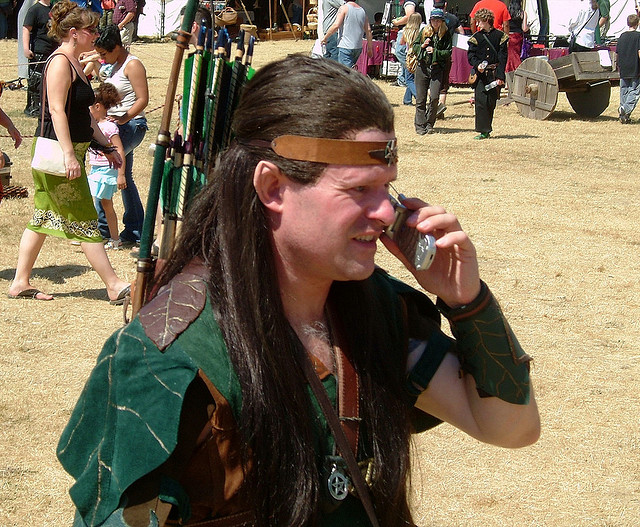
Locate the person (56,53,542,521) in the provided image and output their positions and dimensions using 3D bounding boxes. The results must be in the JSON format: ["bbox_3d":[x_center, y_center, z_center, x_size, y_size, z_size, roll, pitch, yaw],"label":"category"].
[{"bbox_3d":[-0.048,0.087,2.178,1.236,1.260,0.466,-1,11,-26],"label":"person"}]

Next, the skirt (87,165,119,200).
[{"bbox_3d":[-1.680,-0.673,6.402,0.217,0.231,0.186,2,29,-40],"label":"skirt"}]

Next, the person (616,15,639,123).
[{"bbox_3d":[5.353,-3.331,14.103,0.438,1.752,1.372,7,11,19],"label":"person"}]

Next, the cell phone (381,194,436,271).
[{"bbox_3d":[0.242,-0.092,2.351,0.045,0.117,0.251,-7,46,-41],"label":"cell phone"}]

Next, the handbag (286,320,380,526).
[{"bbox_3d":[0.027,0.440,2.134,0.059,0.581,0.020,-10,-18,-42],"label":"handbag"}]
